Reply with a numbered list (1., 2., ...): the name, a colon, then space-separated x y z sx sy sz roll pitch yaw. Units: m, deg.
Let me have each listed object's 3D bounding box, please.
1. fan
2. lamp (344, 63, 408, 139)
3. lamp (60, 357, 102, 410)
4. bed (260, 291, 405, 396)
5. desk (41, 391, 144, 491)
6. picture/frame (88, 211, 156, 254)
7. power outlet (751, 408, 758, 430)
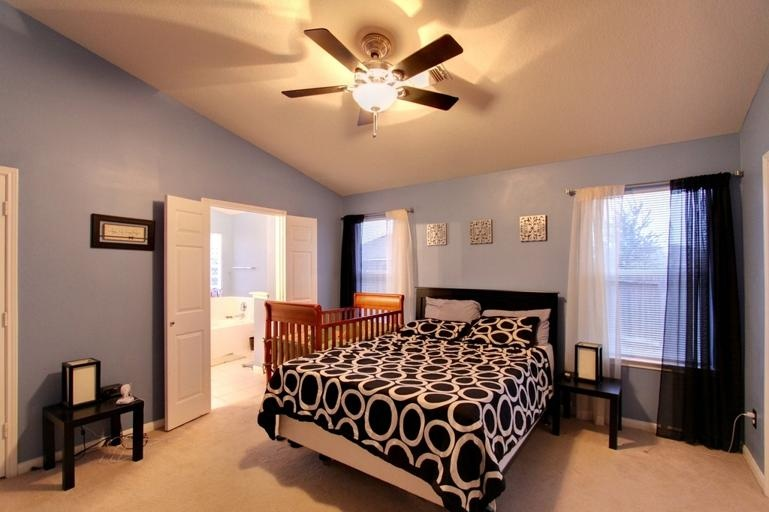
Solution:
1. fan: 0.045 -1.603 4.634 1.148 0.457 1.077 1 -15 4
2. lamp: -0.086 -1.421 4.726 0.536 0.606 0.286 1 13 3
3. lamp: -3.019 1.267 5.229 0.450 0.565 0.356 0 1 -40
4. bed: -0.578 1.076 6.863 1.132 1.026 1.684 1 2 38
5. desk: -2.915 1.673 5.008 1.091 0.879 0.836 5 -4 -20
6. picture/frame: -2.884 -0.258 5.622 0.477 0.336 0.061 2 -3 -43
7. power outlet: 3.607 1.586 5.052 0.024 0.243 0.233 1 -5 31
